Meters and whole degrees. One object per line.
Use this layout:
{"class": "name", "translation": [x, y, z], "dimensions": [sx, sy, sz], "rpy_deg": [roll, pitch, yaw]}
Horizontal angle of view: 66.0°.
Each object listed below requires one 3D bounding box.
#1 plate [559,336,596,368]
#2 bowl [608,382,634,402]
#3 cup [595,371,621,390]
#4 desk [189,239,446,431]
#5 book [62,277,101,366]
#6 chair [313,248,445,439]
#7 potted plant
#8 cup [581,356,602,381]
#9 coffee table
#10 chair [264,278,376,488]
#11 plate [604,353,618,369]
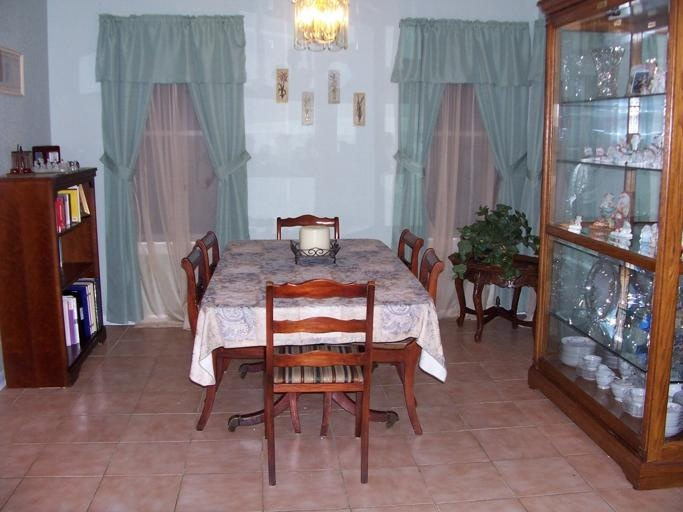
{"class": "plate", "translation": [1.485, 0.601, 3.349], "dimensions": [0.158, 0.141, 0.171], "rpy_deg": [0, 1, 2]}
{"class": "bowl", "translation": [1.587, 0.770, 2.988], "dimensions": [0.082, 0.085, 0.089], "rpy_deg": [0, -1, 0]}
{"class": "cup", "translation": [1.562, 0.743, 3.096], "dimensions": [0.090, 0.069, 0.066], "rpy_deg": [-1, 1, -2]}
{"class": "desk", "translation": [-0.182, 0.459, 3.609], "dimensions": [1.369, 1.072, 1.990], "rpy_deg": [2, 11, -5]}
{"class": "book", "translation": [-1.999, 0.438, 4.064], "dimensions": [0.294, 0.464, 0.130], "rpy_deg": [-2, -1, 25]}
{"class": "chair", "translation": [0.099, 0.451, 3.460], "dimensions": [0.897, 1.400, 0.831], "rpy_deg": [-1, 7, -8]}
{"class": "potted plant", "translation": [1.264, -0.143, 4.330], "dimensions": [0.623, 0.388, 0.674], "rpy_deg": [-7, 23, 26]}
{"class": "cup", "translation": [1.531, 0.679, 3.251], "dimensions": [0.115, 0.122, 0.117], "rpy_deg": [0, 8, 0]}
{"class": "coffee table", "translation": [1.357, 0.341, 4.572], "dimensions": [0.741, 0.635, 0.705], "rpy_deg": [0, 9, -3]}
{"class": "chair", "translation": [-0.111, 0.583, 2.787], "dimensions": [0.555, 1.059, 0.547], "rpy_deg": [1, 14, 1]}
{"class": "plate", "translation": [1.582, 0.615, 3.095], "dimensions": [0.066, 0.082, 0.071], "rpy_deg": [-2, 12, -5]}
